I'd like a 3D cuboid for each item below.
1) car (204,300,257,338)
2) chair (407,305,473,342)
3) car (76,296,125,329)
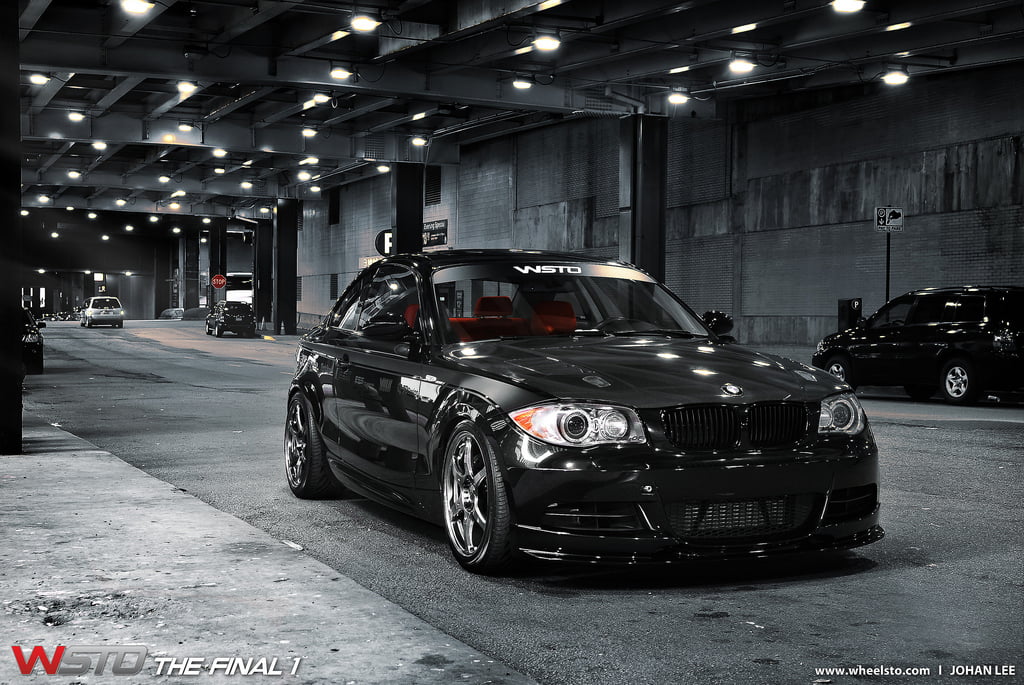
[{"bbox_3d":[-20.816,-1.741,49.896,3.544,2.718,1.460,10,14,21],"label":"car"},{"bbox_3d":[-0.562,-0.144,5.602,0.522,0.334,0.461,2,-4,-22],"label":"chair"},{"bbox_3d":[-37.382,-2.635,62.019,2.407,2.791,4.675,-5,15,-40],"label":"car"}]
